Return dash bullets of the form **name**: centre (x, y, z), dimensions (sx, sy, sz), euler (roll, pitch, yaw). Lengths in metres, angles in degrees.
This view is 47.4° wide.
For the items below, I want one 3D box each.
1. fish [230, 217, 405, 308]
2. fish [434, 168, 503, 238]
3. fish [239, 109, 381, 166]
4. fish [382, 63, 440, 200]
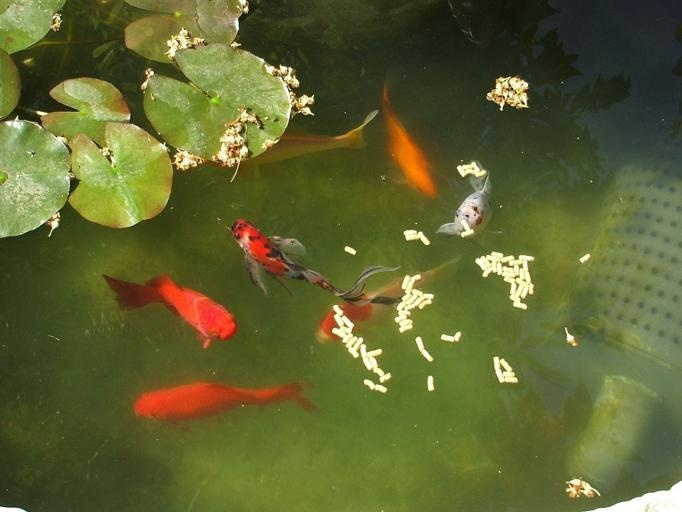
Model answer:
- **fish**: centre (-0.125, 0.070, 4.476), dimensions (1.010, 0.383, 0.443), euler (24, 84, -4)
- **fish**: centre (0.759, -0.301, 4.470), dimensions (0.190, 0.221, 0.426), euler (8, 33, 19)
- **fish**: centre (-0.168, -0.681, 4.587), dimensions (0.817, 0.269, 0.264), euler (-14, 58, -12)
- **fish**: centre (0.306, -0.689, 4.582), dimensions (0.314, 0.172, 0.812), euler (-19, 89, -60)
